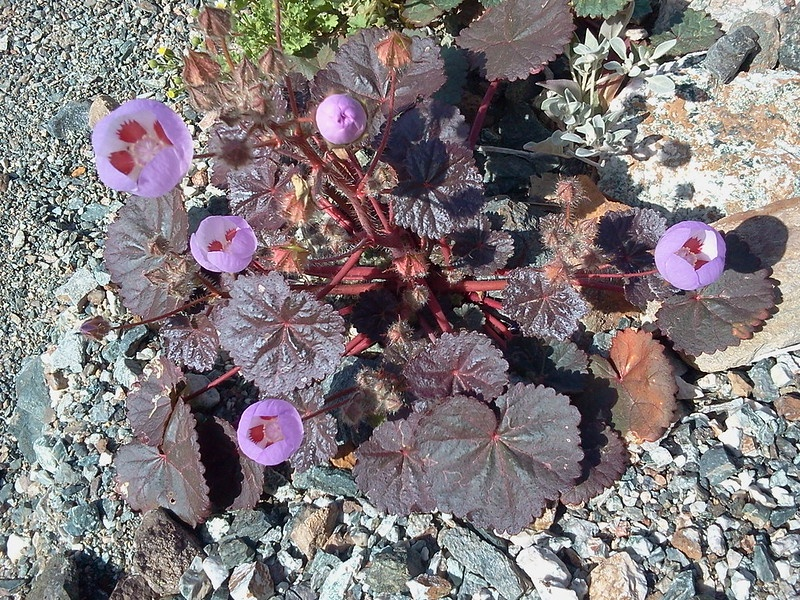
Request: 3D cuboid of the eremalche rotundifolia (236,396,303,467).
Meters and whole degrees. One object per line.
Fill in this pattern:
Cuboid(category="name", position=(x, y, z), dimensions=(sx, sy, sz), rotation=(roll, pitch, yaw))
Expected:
Cuboid(category="eremalche rotundifolia", position=(-0.721, 0.729, 4.182), dimensions=(0.323, 0.114, 0.347), rotation=(-6, 82, 1))

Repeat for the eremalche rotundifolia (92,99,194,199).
Cuboid(category="eremalche rotundifolia", position=(-1.287, -0.759, 3.787), dimensions=(0.439, 0.294, 0.522), rotation=(0, 88, 4))

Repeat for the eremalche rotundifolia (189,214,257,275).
Cuboid(category="eremalche rotundifolia", position=(-0.983, -0.313, 4.208), dimensions=(0.301, 0.177, 0.332), rotation=(1, 71, 11))

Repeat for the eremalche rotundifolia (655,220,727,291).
Cuboid(category="eremalche rotundifolia", position=(1.663, -0.255, 4.338), dimensions=(0.361, 0.138, 0.366), rotation=(0, 83, 2))
